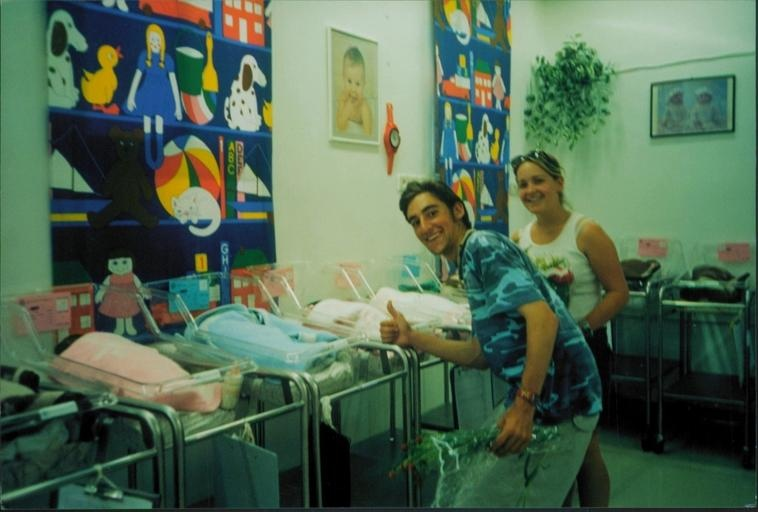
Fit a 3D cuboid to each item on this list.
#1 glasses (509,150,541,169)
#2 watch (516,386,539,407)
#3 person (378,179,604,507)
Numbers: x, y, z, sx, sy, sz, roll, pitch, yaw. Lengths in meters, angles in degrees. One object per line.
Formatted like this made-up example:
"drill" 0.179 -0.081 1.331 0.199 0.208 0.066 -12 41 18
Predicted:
"glasses" 0.519 -0.329 2.222 0.068 0.022 0.069 -25 -9 9
"watch" 0.517 0.488 2.196 0.068 0.041 0.054 29 3 27
"person" 0.489 0.333 3.067 1.102 2.078 0.782 -2 1 19
